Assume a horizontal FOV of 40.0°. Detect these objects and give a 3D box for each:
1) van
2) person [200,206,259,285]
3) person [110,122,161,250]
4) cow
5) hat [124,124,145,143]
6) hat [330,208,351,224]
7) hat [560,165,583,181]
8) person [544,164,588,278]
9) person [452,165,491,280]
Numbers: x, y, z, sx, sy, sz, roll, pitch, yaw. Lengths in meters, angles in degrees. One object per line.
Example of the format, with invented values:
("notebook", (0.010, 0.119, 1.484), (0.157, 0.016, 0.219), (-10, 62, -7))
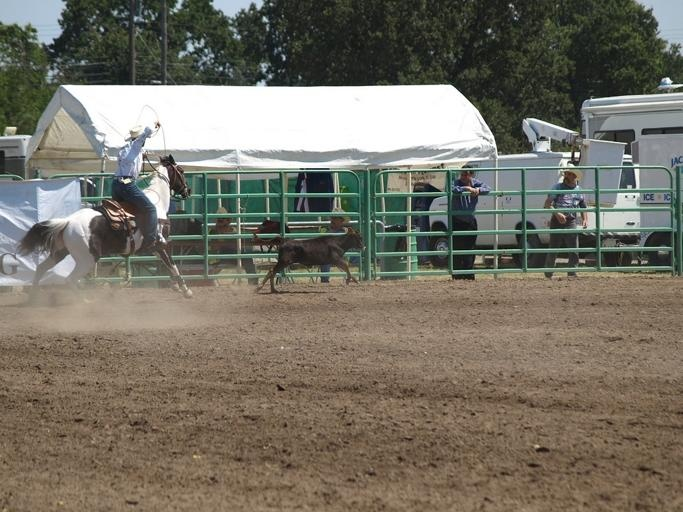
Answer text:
("van", (3.669, -1.177, 18.851), (2.677, 2.678, 4.529), (0, 1, -38))
("person", (-1.939, -0.103, 16.833), (0.811, 1.484, 0.974), (-2, 13, -6))
("person", (-3.071, -1.025, 14.057), (0.647, 1.828, 0.405), (-4, 13, -14))
("cow", (-0.485, 0.079, 15.786), (1.728, 0.997, 0.594), (-5, 14, -19))
("hat", (-3.048, -1.820, 13.847), (0.295, 0.104, 0.261), (-18, 29, 31))
("hat", (-0.009, -0.712, 16.502), (0.300, 0.326, 0.298), (-2, 8, 0))
("hat", (4.102, -1.534, 16.608), (0.301, 0.114, 0.270), (38, -19, -29))
("person", (3.992, -0.541, 16.792), (0.750, 2.074, 1.531), (2, 13, 14))
("person", (2.268, -0.585, 16.784), (0.590, 2.075, 0.735), (1, 13, 8))
